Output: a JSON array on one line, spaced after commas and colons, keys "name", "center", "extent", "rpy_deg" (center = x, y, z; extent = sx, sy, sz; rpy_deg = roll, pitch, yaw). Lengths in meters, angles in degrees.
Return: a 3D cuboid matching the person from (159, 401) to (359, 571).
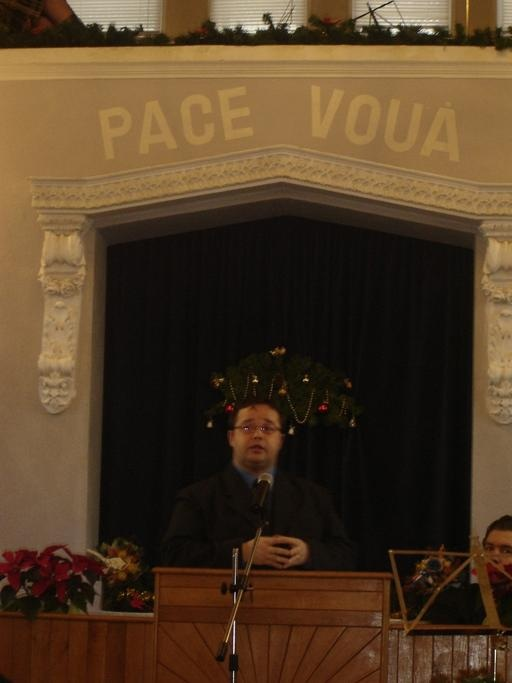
[{"name": "person", "center": [0.015, 1.080, 8.203], "extent": [1.326, 1.369, 0.799], "rpy_deg": [1, -11, -12]}]
